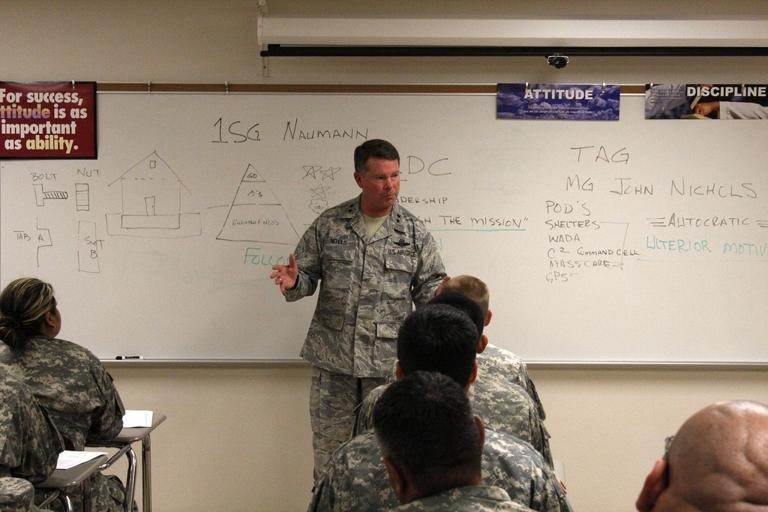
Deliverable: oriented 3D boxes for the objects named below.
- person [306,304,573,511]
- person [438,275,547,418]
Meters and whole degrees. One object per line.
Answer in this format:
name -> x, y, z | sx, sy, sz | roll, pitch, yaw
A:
person -> 0.295, 0.646, 3.167 | 1.011, 0.992, 0.565 | -3, 39, 7
person -> 0.529, 0.399, 3.406 | 0.772, 0.614, 0.364 | 5, 22, 8
